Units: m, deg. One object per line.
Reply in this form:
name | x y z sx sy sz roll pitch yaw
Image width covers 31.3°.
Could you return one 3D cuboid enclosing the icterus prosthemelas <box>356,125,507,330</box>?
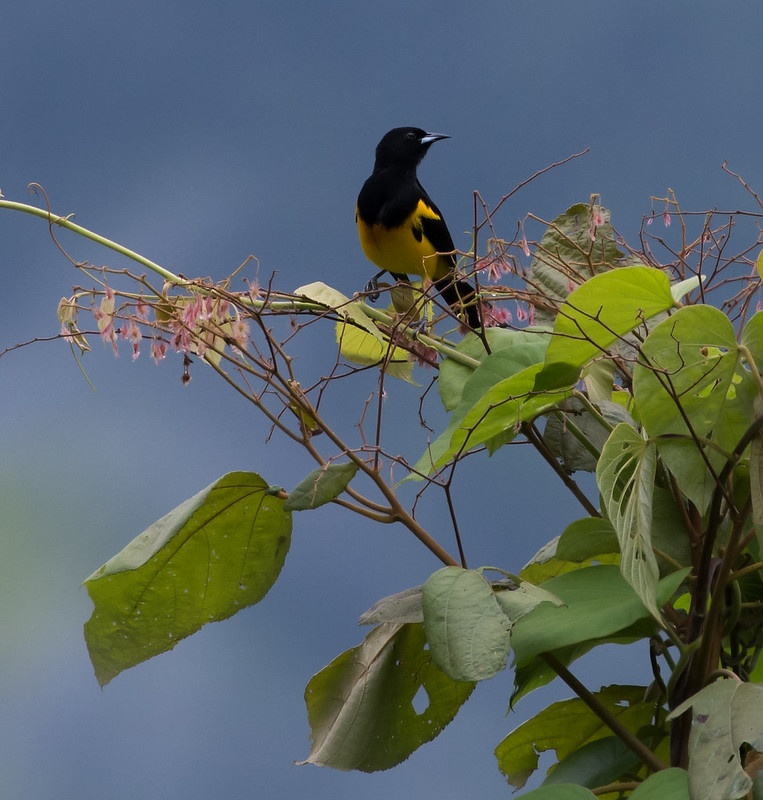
icterus prosthemelas | 0.044 -0.315 2.384 0.138 0.514 0.299 12 -82 11
